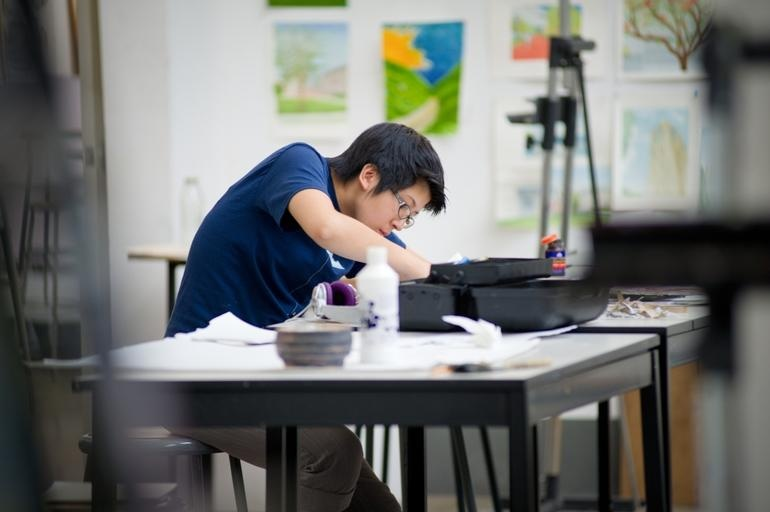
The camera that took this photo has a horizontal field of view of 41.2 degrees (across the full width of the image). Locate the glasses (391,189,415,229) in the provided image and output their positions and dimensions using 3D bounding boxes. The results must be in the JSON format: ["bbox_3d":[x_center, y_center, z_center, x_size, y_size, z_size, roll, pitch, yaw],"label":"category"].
[{"bbox_3d":[0.041,-0.097,2.068,0.017,0.061,0.058,-8,-10,10],"label":"glasses"}]
